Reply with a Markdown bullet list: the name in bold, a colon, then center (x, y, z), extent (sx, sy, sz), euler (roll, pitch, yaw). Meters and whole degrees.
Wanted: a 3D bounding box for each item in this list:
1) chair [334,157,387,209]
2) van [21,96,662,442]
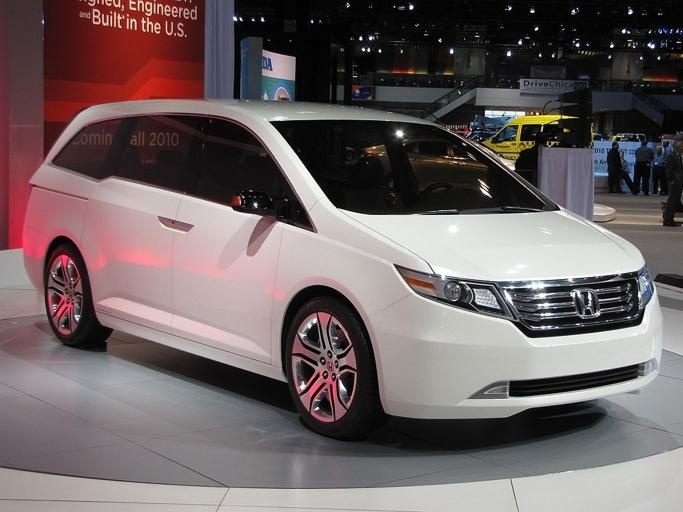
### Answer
- **chair**: center (0.145, -0.478, 3.450), extent (0.258, 0.149, 0.512), euler (15, 48, -18)
- **van**: center (-0.492, -0.051, 4.090), extent (4.728, 2.031, 2.321), euler (8, 8, 40)
